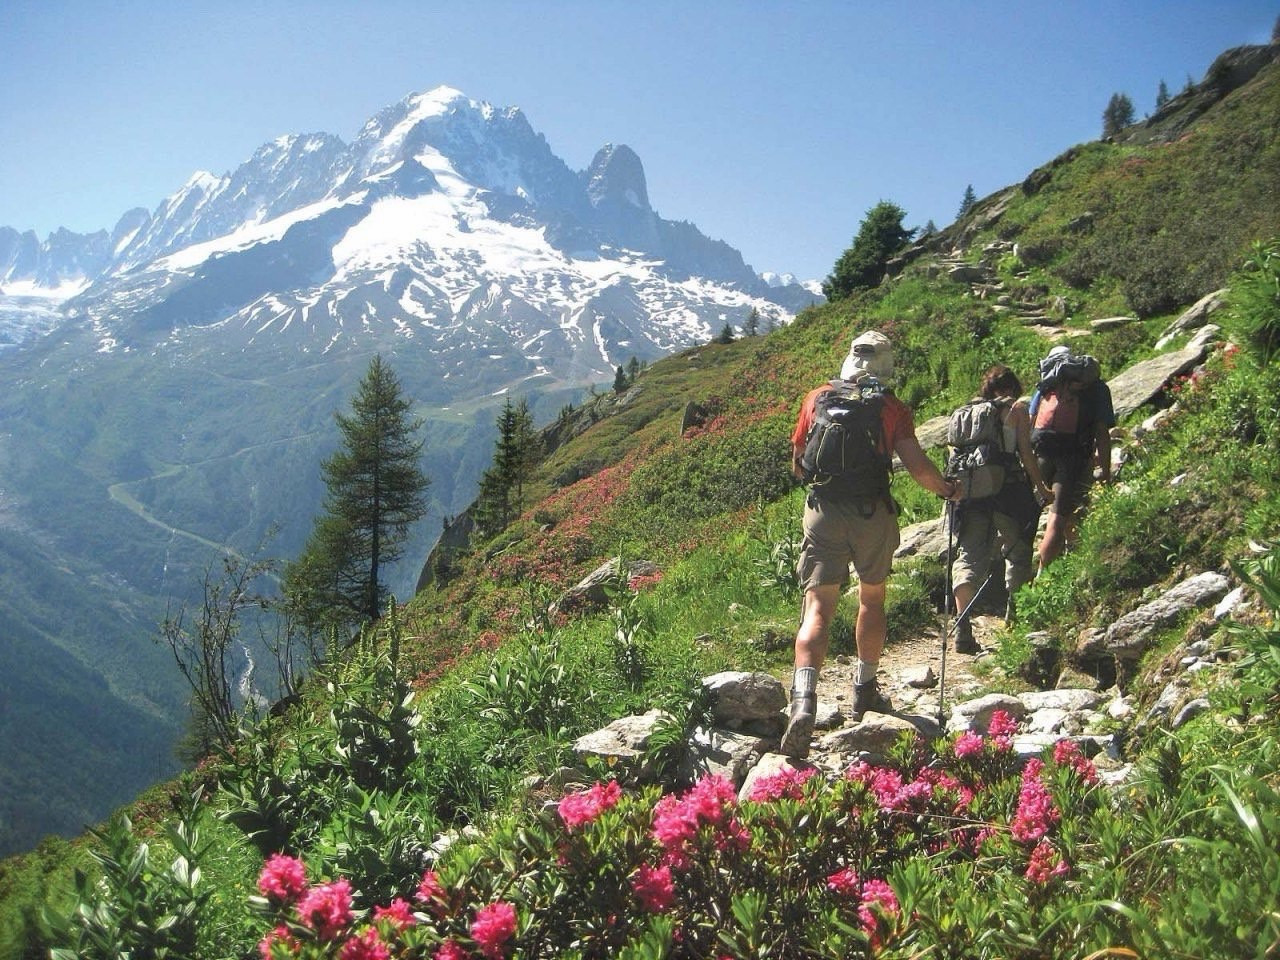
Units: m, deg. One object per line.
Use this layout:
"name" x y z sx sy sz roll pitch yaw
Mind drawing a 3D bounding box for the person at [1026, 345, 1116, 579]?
"person" 5.053 -0.384 13.693 1.210 2.030 0.602 -19 5 11

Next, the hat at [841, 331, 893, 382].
"hat" 2.266 -1.209 11.473 0.538 0.592 0.405 10 6 13

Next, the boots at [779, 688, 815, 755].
"boots" 1.360 2.125 10.125 0.213 0.598 0.417 6 -7 -1
